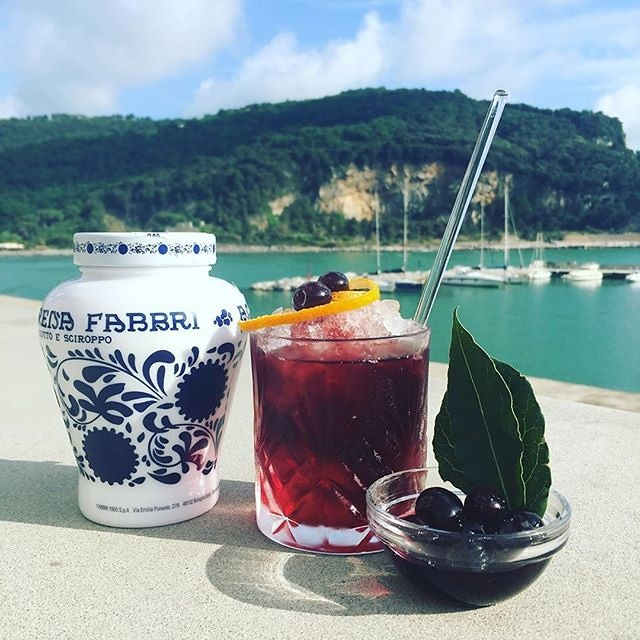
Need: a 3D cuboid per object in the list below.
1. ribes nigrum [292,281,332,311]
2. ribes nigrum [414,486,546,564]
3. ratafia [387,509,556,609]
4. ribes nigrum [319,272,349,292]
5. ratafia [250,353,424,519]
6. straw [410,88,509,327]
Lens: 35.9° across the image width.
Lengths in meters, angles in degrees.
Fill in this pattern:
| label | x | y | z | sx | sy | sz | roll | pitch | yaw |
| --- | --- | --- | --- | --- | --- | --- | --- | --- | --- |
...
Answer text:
| label | x | y | z | sx | sy | sz | roll | pitch | yaw |
| --- | --- | --- | --- | --- | --- | --- | --- | --- | --- |
| ribes nigrum | -0.018 | -0.045 | 1.870 | 0.073 | 0.051 | 0.052 | -7 | -11 | 14 |
| ribes nigrum | 0.283 | 0.352 | 1.705 | 0.158 | 0.089 | 0.172 | 9 | 2 | -20 |
| ratafia | 0.252 | 0.406 | 1.668 | 0.175 | 0.078 | 0.163 | -1 | -11 | 3 |
| ribes nigrum | 0.027 | -0.076 | 1.938 | 0.043 | 0.037 | 0.051 | 2 | 7 | -29 |
| ratafia | 0.040 | 0.207 | 2.029 | 0.343 | 0.324 | 0.304 | 0 | 4 | 9 |
| straw | 0.278 | -0.210 | 2.002 | 0.192 | 0.496 | 0.526 | 0 | 8 | 7 |
